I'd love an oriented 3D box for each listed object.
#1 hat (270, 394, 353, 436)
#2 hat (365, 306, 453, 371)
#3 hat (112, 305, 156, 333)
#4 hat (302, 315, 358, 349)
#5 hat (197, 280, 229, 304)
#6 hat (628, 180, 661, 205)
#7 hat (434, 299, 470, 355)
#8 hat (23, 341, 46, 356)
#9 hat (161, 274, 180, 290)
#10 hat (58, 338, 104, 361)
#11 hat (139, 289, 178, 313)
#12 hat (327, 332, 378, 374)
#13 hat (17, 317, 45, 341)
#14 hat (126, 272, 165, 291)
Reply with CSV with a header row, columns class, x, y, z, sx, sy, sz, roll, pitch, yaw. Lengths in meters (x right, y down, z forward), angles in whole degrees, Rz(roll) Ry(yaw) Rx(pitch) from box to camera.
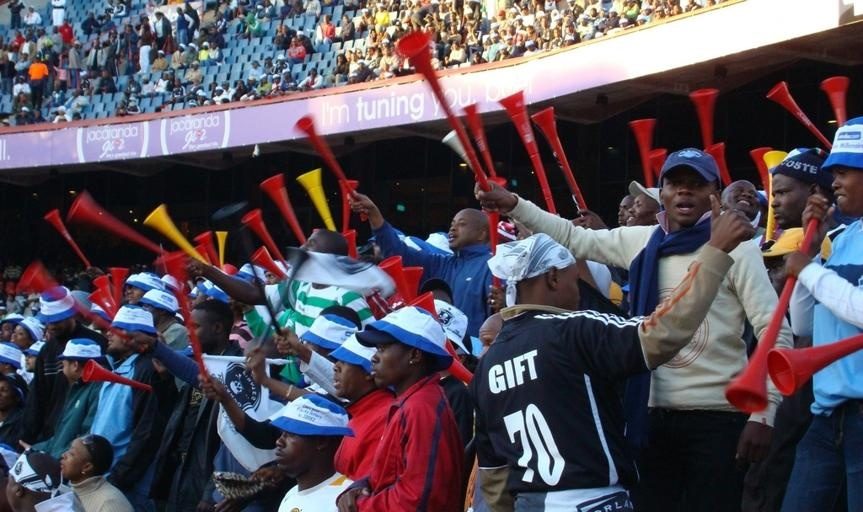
class,x,y,z,sx,sy,sz,roll,pitch,yaw
hat,-1.168,1.507,9.139,0.482,0.194,0.488,9,-1,5
hat,-0.250,0.690,9.015,0.710,0.378,0.532,18,-6,-4
hat,-3.381,0.720,10.879,0.333,0.236,0.447,6,-5,39
hat,-1.070,0.750,9.727,0.470,0.203,0.328,-9,25,-38
hat,-2.783,0.458,12.005,0.306,0.301,0.674,-12,2,-30
hat,2.363,-0.720,10.656,0.338,0.115,0.221,29,-12,-24
hat,0.206,0.701,9.759,0.525,0.257,0.342,41,-5,18
hat,-5.462,1.243,13.083,0.271,0.170,0.404,-7,-4,26
hat,-3.447,0.333,12.365,0.115,0.206,1.038,-12,2,-20
hat,-4.386,1.141,11.885,0.474,0.291,0.402,-12,2,-23
hat,-3.400,0.561,11.860,0.374,0.215,0.277,12,-4,-24
hat,-0.761,0.914,9.150,0.419,0.223,0.301,25,-2,-3
hat,-5.791,1.001,13.812,0.257,0.162,0.359,11,-32,23
hat,-3.771,0.330,12.478,0.424,0.154,0.319,3,-10,0
